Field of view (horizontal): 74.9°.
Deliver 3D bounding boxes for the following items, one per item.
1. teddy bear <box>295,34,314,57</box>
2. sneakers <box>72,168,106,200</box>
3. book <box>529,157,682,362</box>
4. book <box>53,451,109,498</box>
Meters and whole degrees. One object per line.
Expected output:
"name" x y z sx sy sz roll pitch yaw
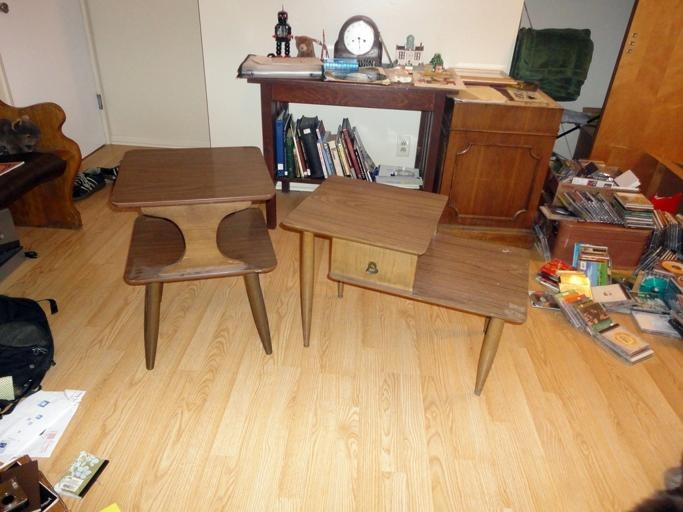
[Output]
"teddy bear" -0.246 -1.376 2.932 0.123 0.118 0.135 -3 32 -7
"sneakers" -1.925 -0.559 3.392 0.157 0.116 0.301 26 36 -4
"book" 1.544 0.054 2.615 0.786 1.080 0.582 14 33 19
"book" -1.004 0.850 1.719 0.133 0.046 0.158 11 33 15
